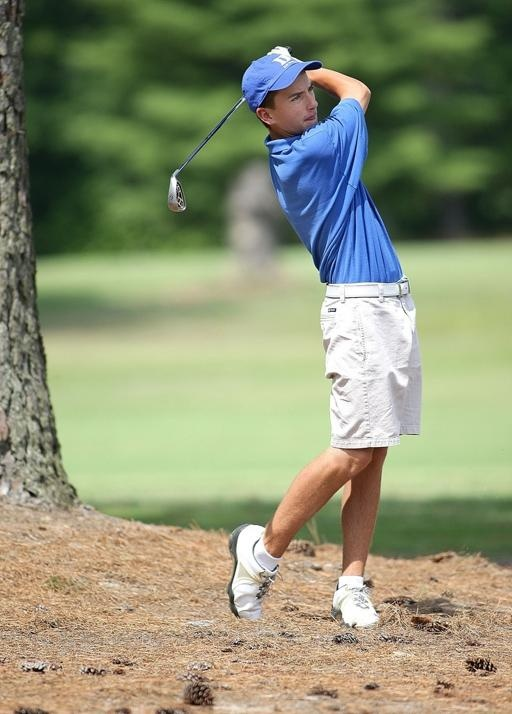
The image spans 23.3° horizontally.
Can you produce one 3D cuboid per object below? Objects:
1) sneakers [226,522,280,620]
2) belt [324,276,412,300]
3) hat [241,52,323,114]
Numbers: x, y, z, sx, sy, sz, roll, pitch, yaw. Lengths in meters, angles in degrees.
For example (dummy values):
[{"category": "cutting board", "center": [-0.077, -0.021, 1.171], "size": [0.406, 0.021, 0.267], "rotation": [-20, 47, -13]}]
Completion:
[{"category": "sneakers", "center": [0.004, 0.782, 4.460], "size": [0.199, 0.331, 0.144], "rotation": [-1, 10, 21]}, {"category": "belt", "center": [0.411, -0.251, 4.456], "size": [0.300, 0.068, 0.184], "rotation": [2, 1, 0]}, {"category": "hat", "center": [0.083, -1.026, 4.468], "size": [0.296, 0.160, 0.195], "rotation": [-29, 16, 34]}]
